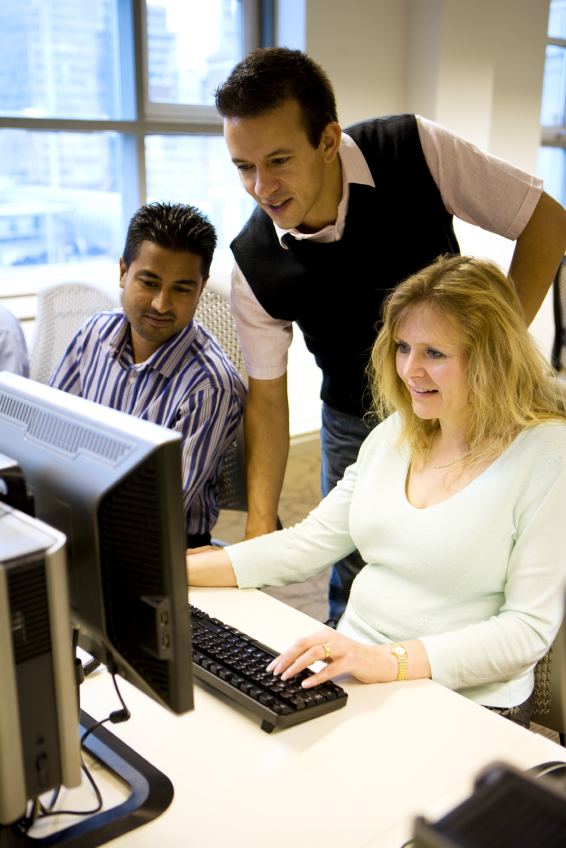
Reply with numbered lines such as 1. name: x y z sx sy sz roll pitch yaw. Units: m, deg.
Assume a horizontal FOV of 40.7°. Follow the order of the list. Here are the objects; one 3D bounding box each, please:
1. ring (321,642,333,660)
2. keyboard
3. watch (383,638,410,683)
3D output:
1. ring: 0.057 0.299 0.996 0.007 0.016 0.013 -2 -1 -5
2. keyboard: -0.043 0.275 0.955 0.091 0.038 0.274 -20 25 -28
3. watch: 0.154 0.316 1.016 0.023 0.035 0.037 -7 34 -12
